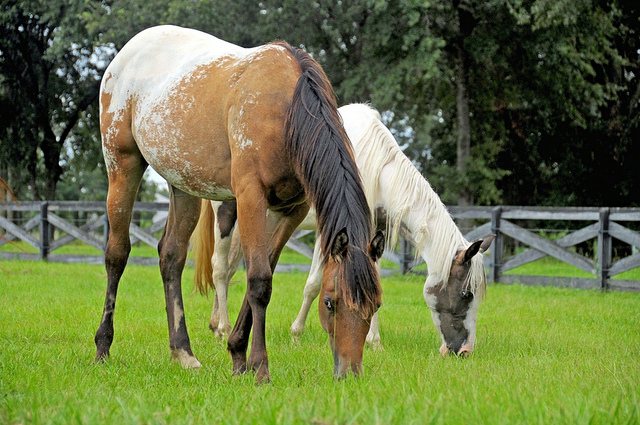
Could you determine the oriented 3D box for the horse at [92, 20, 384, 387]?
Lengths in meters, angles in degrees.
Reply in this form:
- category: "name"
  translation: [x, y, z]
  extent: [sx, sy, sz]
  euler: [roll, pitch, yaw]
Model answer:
- category: "horse"
  translation: [-1.860, -0.176, 18.773]
  extent: [6.502, 6.867, 2.375]
  euler: [-2, -1, 33]
